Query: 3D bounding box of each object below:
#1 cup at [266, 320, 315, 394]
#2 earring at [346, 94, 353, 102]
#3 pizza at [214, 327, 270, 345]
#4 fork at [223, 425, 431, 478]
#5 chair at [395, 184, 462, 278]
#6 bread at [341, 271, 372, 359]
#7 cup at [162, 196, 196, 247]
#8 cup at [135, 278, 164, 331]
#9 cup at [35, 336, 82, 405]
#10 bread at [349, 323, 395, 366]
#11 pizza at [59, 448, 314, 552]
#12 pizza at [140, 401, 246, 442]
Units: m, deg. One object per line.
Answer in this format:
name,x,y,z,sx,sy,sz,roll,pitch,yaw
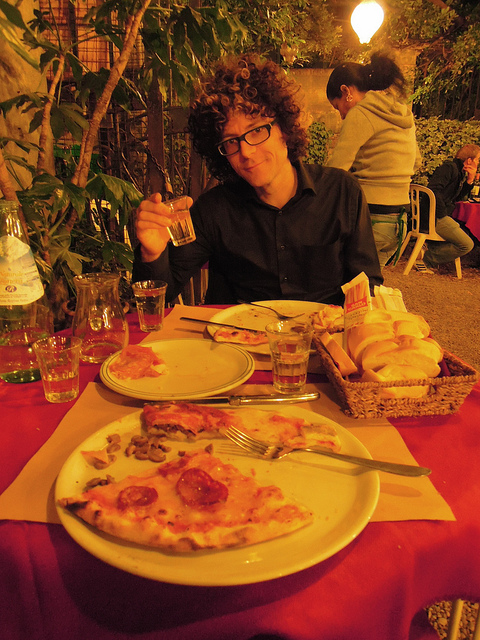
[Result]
cup,0.097,0.075,1.097,0.137,0.165,0.139,0,11,0
earring,0.841,-1.695,3.811,0.038,0.048,0.060,-3,15,2
pizza,0.003,0.046,1.348,0.102,0.021,0.059,11,28,-3
fork,0.128,0.213,0.798,0.257,0.022,0.036,6,18,27
chair,2.372,-1.120,6.194,0.743,1.187,0.703,-13,35,-6
bread,0.237,-0.007,1.119,0.079,0.171,0.083,1,15,-2
cup,-0.201,-0.306,1.561,0.103,0.144,0.096,-17,11,3
cup,-0.265,-0.039,1.463,0.092,0.136,0.088,0,10,0
cup,-0.376,0.111,1.041,0.095,0.116,0.099,-9,-8,-1
bread,0.257,0.039,1.013,0.128,0.073,0.123,-1,13,3
pizza,-0.069,0.200,0.664,0.266,0.070,0.202,-5,11,-34
pizza,-0.086,0.158,0.864,0.118,0.031,0.078,8,15,21
